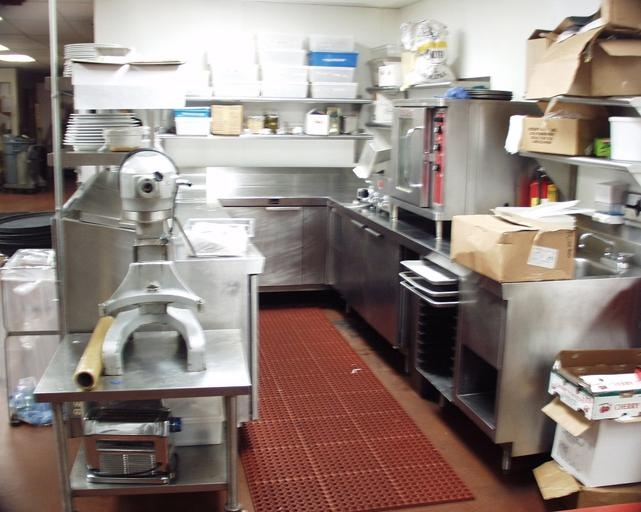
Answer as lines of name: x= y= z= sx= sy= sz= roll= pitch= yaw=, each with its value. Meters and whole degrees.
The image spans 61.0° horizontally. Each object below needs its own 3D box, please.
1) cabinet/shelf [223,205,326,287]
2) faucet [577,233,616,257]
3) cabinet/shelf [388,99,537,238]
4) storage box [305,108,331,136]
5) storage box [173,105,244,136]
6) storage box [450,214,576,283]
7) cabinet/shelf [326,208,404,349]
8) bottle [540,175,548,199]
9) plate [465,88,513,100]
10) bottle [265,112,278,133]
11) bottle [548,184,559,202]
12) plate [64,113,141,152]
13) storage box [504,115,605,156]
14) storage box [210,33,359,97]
cabinet/shelf: x=-0.316 y=-0.124 z=5.191 sx=1.325 sy=0.831 sz=0.719 roll=-1 pitch=16 yaw=-5
faucet: x=1.413 y=-0.060 z=2.793 sx=0.140 sy=0.053 sz=0.130 roll=-6 pitch=12 yaw=-31
cabinet/shelf: x=0.894 y=-0.573 z=3.724 sx=1.025 sy=0.991 sz=1.176 roll=-2 pitch=11 yaw=-10
storage box: x=-0.030 y=-1.256 z=5.153 sx=0.248 sy=0.236 sz=0.180 roll=-1 pitch=15 yaw=-2
storage box: x=-1.005 y=-1.223 z=4.916 sx=0.589 sy=0.275 sz=0.142 roll=-3 pitch=16 yaw=-11
storage box: x=0.894 y=-0.055 z=2.556 sx=0.437 sy=0.282 sz=0.433 roll=-3 pitch=14 yaw=-8
cabinet/shelf: x=0.343 y=0.168 z=4.035 sx=0.472 sy=0.489 sz=1.149 roll=-4 pitch=18 yaw=-19
bottle: x=1.283 y=-0.394 z=3.126 sx=0.044 sy=0.125 sz=0.102 roll=5 pitch=16 yaw=18
plate: x=0.968 y=-0.928 z=3.134 sx=0.150 sy=0.026 sz=0.128 roll=0 pitch=4 yaw=-1
bottle: x=-0.464 y=-1.255 z=5.163 sx=0.189 sy=0.198 sz=0.186 roll=0 pitch=4 yaw=-2
bottle: x=1.311 y=-0.360 z=3.082 sx=0.053 sy=0.090 sz=0.085 roll=5 pitch=16 yaw=17
plate: x=-1.057 y=-0.595 z=2.549 sx=0.276 sy=0.094 sz=0.255 roll=-6 pitch=9 yaw=-32
storage box: x=1.177 y=-0.625 z=2.803 sx=0.175 sy=0.202 sz=0.519 roll=-10 pitch=16 yaw=-30
storage box: x=-0.350 y=-1.746 z=5.032 sx=1.340 sy=0.582 sz=0.350 roll=-3 pitch=16 yaw=-10
